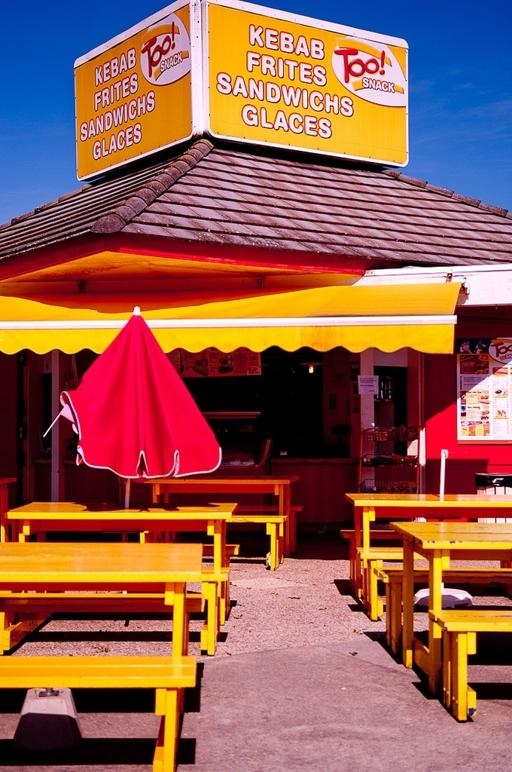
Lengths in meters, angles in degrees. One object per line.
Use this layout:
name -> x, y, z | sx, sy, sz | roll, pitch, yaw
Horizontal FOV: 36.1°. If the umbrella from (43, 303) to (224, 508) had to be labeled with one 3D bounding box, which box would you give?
umbrella -> -0.693, 0.175, 5.992 | 1.163, 1.752, 1.054 | 0, 0, -13
